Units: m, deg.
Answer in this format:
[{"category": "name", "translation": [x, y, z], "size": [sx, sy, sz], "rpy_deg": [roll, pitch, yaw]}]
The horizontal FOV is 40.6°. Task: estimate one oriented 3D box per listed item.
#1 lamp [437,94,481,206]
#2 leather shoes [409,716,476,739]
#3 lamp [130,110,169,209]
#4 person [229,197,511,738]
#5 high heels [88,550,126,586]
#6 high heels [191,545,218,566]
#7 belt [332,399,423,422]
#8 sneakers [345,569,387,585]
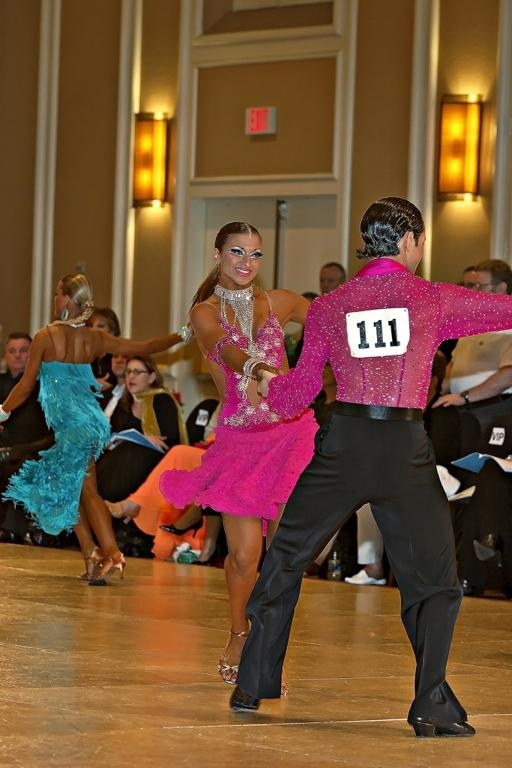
[{"category": "lamp", "translation": [2.145, -2.465, 7.252], "size": [0.494, 1.069, 0.348], "rpy_deg": [-2, -13, 14]}, {"category": "leather shoes", "translation": [0.445, 0.816, 1.648], "size": [0.169, 0.056, 0.037], "rpy_deg": [7, -14, -26]}, {"category": "lamp", "translation": [-1.332, -2.802, 8.742], "size": [0.453, 1.096, 0.479], "rpy_deg": [3, -13, -6]}, {"category": "person", "translation": [0.283, 0.275, 1.761], "size": [0.757, 1.154, 0.326], "rpy_deg": [-7, -15, 31]}, {"category": "high heels", "translation": [-1.007, 1.222, 4.570], "size": [0.123, 0.164, 0.377], "rpy_deg": [0, -3, -28]}, {"category": "high heels", "translation": [-0.421, 1.379, 5.505], "size": [0.092, 0.106, 0.278], "rpy_deg": [5, 0, -24]}, {"category": "belt", "translation": [0.302, 0.072, 1.746], "size": [0.219, 0.069, 0.110], "rpy_deg": [-2, -12, 12]}, {"category": "sneakers", "translation": [0.750, 1.323, 4.722], "size": [0.270, 0.084, 0.099], "rpy_deg": [3, -11, 3]}]
